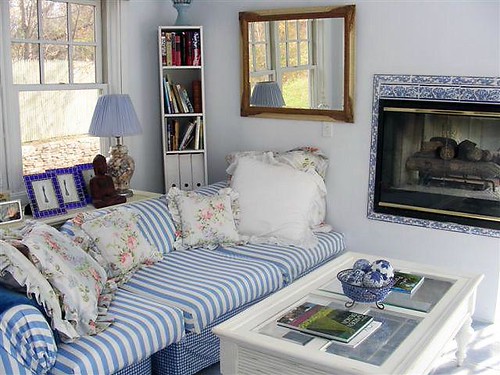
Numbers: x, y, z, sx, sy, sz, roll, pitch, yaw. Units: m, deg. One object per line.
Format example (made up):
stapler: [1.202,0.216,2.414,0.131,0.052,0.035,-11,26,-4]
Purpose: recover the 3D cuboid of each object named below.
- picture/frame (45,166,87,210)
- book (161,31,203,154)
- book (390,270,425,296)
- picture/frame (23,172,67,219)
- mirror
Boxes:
picture/frame: [-1.353,0.014,2.878,0.027,0.322,0.364,-27,-19,34]
book: [-0.629,-0.889,3.651,0.429,1.099,0.377,-5,11,-9]
book: [0.843,0.512,2.103,0.119,0.012,0.126,6,16,31]
picture/frame: [-1.436,0.064,2.764,0.332,0.379,0.043,-13,-16,-45]
mirror: [0.428,-1.062,3.296,1.252,0.932,0.091,4,13,27]
